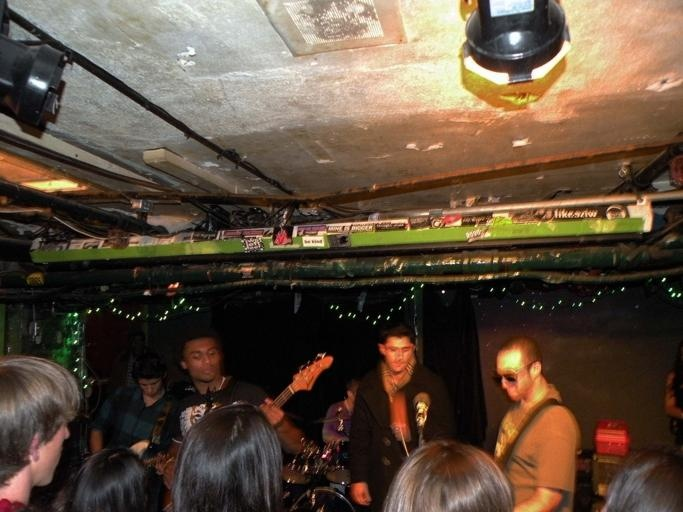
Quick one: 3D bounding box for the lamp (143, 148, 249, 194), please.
[{"bbox_3d":[-1.414,-0.754,4.836,0.503,0.208,1.143,-4,-11,21],"label":"lamp"}]
